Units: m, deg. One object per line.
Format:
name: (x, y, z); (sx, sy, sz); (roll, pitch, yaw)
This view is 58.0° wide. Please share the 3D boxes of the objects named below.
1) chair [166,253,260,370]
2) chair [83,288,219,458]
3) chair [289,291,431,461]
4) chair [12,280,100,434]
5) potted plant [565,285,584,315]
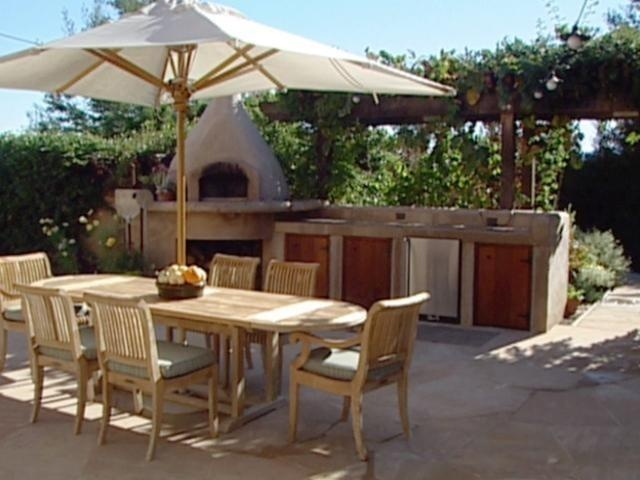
chair: (-1.074, 0.652, 6.429); (0.772, 1.193, 0.931); (-6, -17, 33)
chair: (-1.531, 1.133, 5.289); (0.754, 1.561, 0.985); (7, 10, 32)
chair: (0.352, 1.133, 5.284); (1.110, 1.507, 1.274); (2, 6, -12)
chair: (-2.382, 1.056, 5.644); (0.748, 1.403, 0.933); (7, 9, 36)
potted plant: (4.022, 0.965, 9.164); (0.404, 0.383, 0.409); (1, 3, 41)
